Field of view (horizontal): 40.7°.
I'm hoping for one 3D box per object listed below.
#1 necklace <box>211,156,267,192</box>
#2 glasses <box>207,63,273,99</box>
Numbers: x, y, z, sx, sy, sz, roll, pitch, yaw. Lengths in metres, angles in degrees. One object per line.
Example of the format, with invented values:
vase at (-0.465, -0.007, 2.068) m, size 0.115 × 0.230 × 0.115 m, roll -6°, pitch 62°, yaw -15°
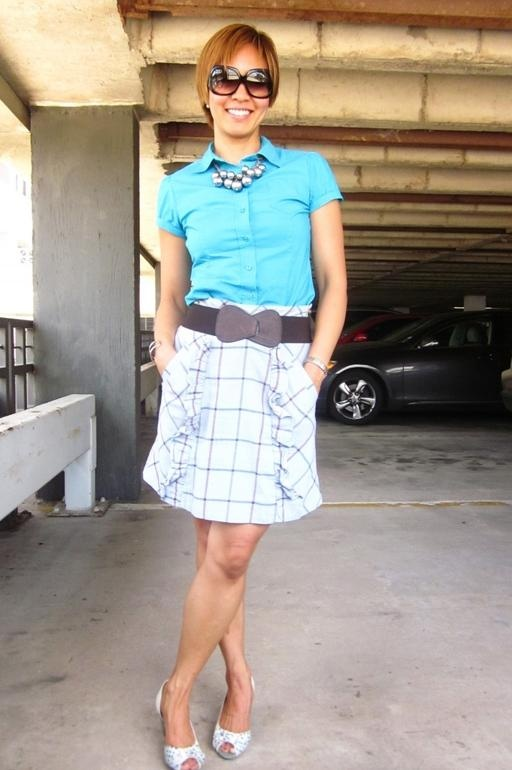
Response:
necklace at (-0.039, -0.437, 1.457) m, size 0.097 × 0.075 × 0.089 m, roll -4°, pitch 6°, yaw 3°
glasses at (-0.038, -0.662, 1.578) m, size 0.146 × 0.076 × 0.143 m, roll 2°, pitch 8°, yaw -20°
